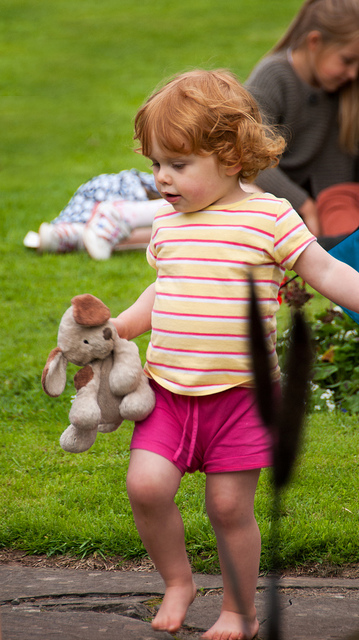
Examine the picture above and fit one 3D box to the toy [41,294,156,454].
[{"bbox_3d":[-0.209,0.125,1.644,0.256,0.339,0.219,-18,-4,-3],"label":"toy"}]
